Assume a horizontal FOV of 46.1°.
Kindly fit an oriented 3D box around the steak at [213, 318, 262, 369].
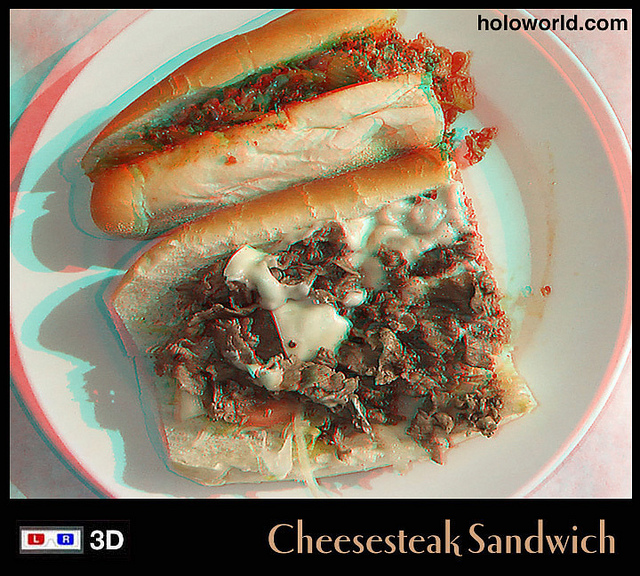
[{"bbox_3d":[-0.268,0.170,2.412,0.133,0.061,0.160,-12,75,3],"label":"steak"}]
